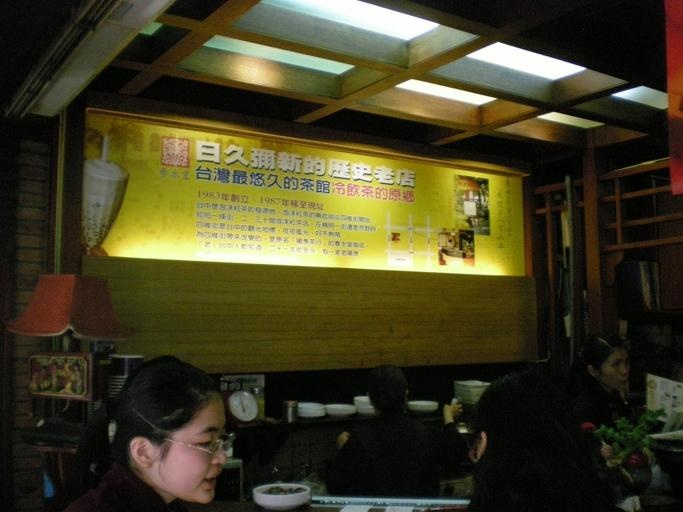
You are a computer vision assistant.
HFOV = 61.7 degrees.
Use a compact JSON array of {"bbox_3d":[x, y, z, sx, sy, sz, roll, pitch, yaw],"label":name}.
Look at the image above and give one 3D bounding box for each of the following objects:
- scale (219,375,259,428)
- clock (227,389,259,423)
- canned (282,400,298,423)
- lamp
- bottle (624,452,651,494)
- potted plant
[{"bbox_3d":[-0.811,1.058,4.204,0.443,0.373,0.215,-11,-13,35],"label":"scale"},{"bbox_3d":[-0.687,1.077,4.168,0.270,0.242,0.129,-1,7,19],"label":"clock"},{"bbox_3d":[-0.383,1.164,4.271,0.143,0.141,0.136,6,-14,-29],"label":"canned"},{"bbox_3d":[-1.461,0.530,3.416,0.759,0.738,0.690,-3,-14,15],"label":"lamp"},{"bbox_3d":[1.342,0.982,2.606,0.120,0.156,0.118,4,-9,1],"label":"bottle"},{"bbox_3d":[1.341,0.832,2.557,0.250,0.237,0.207,-7,6,-44],"label":"potted plant"}]
